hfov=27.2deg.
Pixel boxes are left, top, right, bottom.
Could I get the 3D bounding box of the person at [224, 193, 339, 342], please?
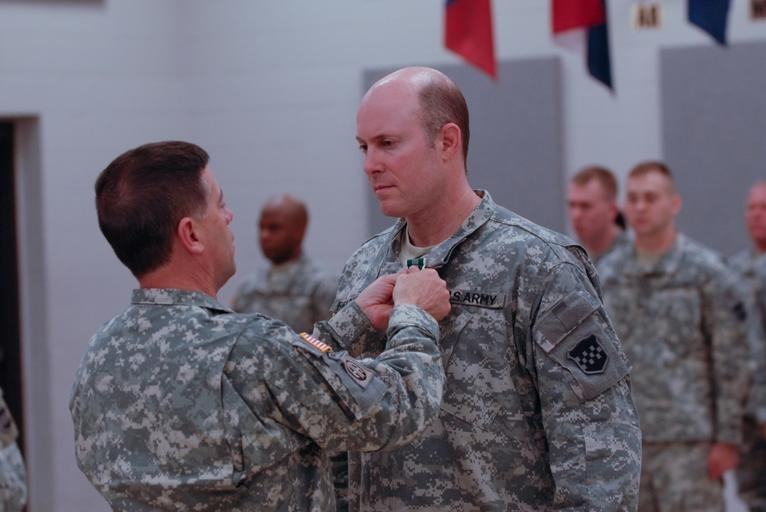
[{"bbox_3d":[-0.519,0.019,8.043,0.571,1.196,0.363,4,7,30],"label":"person"}]
